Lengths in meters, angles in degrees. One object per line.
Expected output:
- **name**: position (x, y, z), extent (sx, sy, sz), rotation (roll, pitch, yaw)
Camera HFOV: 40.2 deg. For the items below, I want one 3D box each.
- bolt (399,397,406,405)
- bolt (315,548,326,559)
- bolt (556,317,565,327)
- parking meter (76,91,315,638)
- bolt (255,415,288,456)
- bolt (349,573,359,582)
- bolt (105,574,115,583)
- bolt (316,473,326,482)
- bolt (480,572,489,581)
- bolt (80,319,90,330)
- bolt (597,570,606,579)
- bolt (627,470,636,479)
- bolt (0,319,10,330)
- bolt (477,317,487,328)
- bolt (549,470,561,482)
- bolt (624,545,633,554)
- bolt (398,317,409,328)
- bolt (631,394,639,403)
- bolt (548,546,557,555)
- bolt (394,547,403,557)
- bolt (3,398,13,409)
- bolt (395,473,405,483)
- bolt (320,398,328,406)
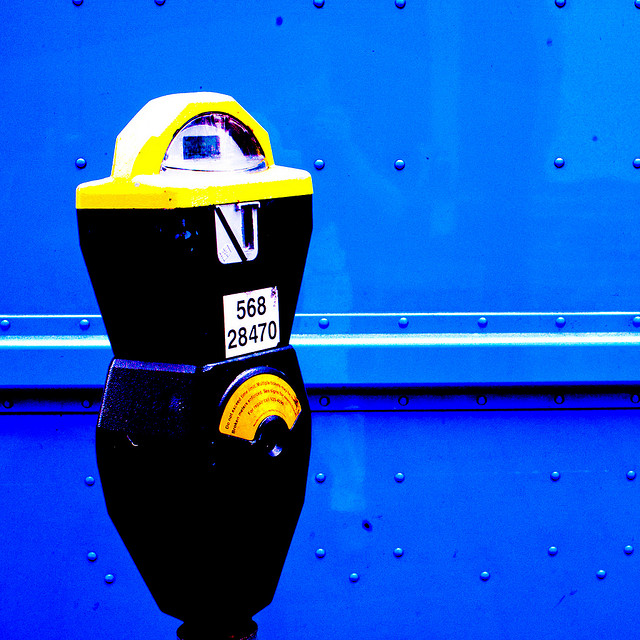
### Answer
- **bolt**: position (0.264, 0.260, 2.761), extent (0.020, 0.021, 0.007), rotation (-1, -10, 8)
- **bolt**: position (0.009, 0.756, 2.821), extent (0.026, 0.034, 0.017), rotation (-15, 7, -8)
- **bolt**: position (0.749, 0.009, 2.708), extent (0.022, 0.030, 0.023), rotation (-3, 10, -10)
- **parking meter**: position (-0.286, 0.121, 2.014), extent (0.530, 1.233, 0.481), rotation (0, -10, -1)
- **bolt**: position (-0.114, 0.268, 2.012), extent (0.026, 0.095, 0.068), rotation (4, 16, 35)
- **bolt**: position (0.112, 0.840, 2.827), extent (0.019, 0.027, 0.006), rotation (-11, 3, -4)
- **bolt**: position (-0.680, 0.845, 2.831), extent (0.019, 0.026, 0.005), rotation (-14, 5, -4)
- **bolt**: position (0.004, 0.507, 2.783), extent (0.026, 0.025, 0.012), rotation (0, -11, -1)
- **bolt**: position (0.536, 0.836, 2.828), extent (0.019, 0.037, 0.022), rotation (-3, 6, -19)
- **bolt**: position (-0.731, 0.017, 2.692), extent (0.022, 0.030, 0.006), rotation (-9, 8, -3)
- **bolt**: position (0.920, 0.835, 2.846), extent (0.020, 0.028, 0.013), rotation (0, 3, 7)
- **bolt**: position (1.004, 0.504, 2.808), extent (0.019, 0.027, 0.012), rotation (-4, -7, 1)
- **bolt**: position (-0.974, 0.017, 2.710), extent (0.026, 0.028, 0.011), rotation (2, -11, -8)
- **bolt**: position (0.505, 0.010, 2.704), extent (0.030, 0.030, 0.010), rotation (3, -11, -14)
- **bolt**: position (0.757, 0.506, 2.800), extent (0.038, 0.037, 0.013), rotation (4, -11, -16)
- **bolt**: position (1.006, 0.751, 2.839), extent (0.026, 0.024, 0.007), rotation (1, -10, -3)
- **bolt**: position (0.260, 0.010, 2.697), extent (0.033, 0.029, 0.013), rotation (-2, -11, 9)
- **bolt**: position (1.008, 0.254, 2.780), extent (0.019, 0.025, 0.013), rotation (-3, -11, 14)
- **bolt**: position (0.757, 0.756, 2.829), extent (0.019, 0.027, 0.012), rotation (4, -2, -2)
- **bolt**: position (0.256, 0.757, 2.820), extent (0.026, 0.030, 0.010), rotation (-1, -10, 4)
- **bolt**: position (-0.992, 0.268, 2.781), extent (0.030, 0.029, 0.008), rotation (-1, -10, 8)
- **bolt**: position (0.257, 0.509, 2.787), extent (0.030, 0.029, 0.011), rotation (-1, -10, 5)
- **bolt**: position (0.013, 0.260, 2.743), extent (0.017, 0.023, 0.005), rotation (0, 1, -7)
